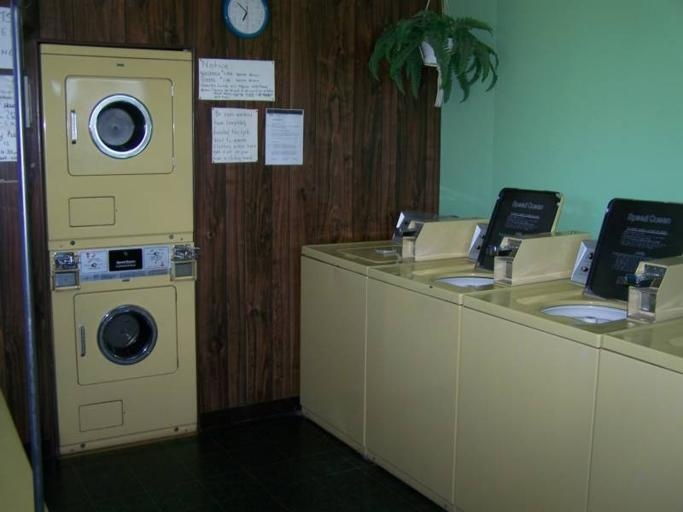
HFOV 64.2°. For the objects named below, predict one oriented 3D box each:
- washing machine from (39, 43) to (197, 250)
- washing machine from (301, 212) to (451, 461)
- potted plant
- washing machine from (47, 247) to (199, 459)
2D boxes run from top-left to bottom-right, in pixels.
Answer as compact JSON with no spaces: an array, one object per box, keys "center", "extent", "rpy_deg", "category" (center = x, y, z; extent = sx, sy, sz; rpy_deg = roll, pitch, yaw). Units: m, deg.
[{"center":[-1.451,-0.702,3.430],"extent":[0.903,1.246,0.668],"rpy_deg":[-8,26,-35],"category":"washing machine"},{"center":[0.188,0.521,3.702],"extent":[0.768,1.441,0.794],"rpy_deg":[-1,6,-6],"category":"washing machine"},{"center":[0.612,-1.323,3.526],"extent":[0.759,0.507,0.737],"rpy_deg":[5,10,31],"category":"potted plant"},{"center":[-1.488,0.530,3.556],"extent":[0.882,1.254,0.662],"rpy_deg":[-2,3,-42],"category":"washing machine"}]
